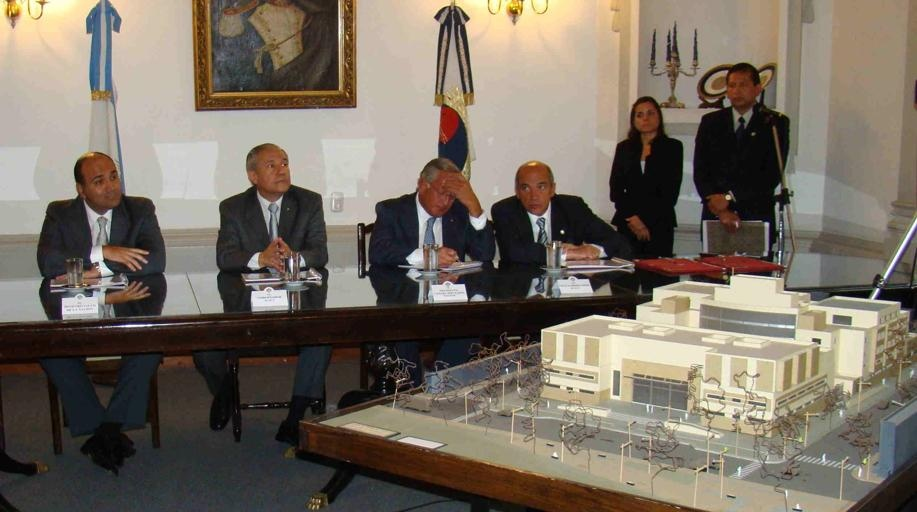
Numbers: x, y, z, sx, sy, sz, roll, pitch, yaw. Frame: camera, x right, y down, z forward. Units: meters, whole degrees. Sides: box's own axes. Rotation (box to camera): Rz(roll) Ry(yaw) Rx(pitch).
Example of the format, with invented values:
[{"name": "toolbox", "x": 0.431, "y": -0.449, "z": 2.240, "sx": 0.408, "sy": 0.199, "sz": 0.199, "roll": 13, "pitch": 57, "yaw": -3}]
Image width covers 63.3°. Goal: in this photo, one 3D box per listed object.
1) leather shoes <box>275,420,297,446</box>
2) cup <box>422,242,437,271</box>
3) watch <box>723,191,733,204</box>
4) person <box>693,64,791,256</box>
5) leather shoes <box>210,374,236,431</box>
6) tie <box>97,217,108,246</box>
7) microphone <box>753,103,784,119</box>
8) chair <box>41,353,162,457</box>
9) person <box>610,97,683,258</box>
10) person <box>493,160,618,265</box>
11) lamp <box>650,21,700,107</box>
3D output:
[{"name": "leather shoes", "x": -1.060, "y": 1.103, "z": 4.658, "sx": 0.099, "sy": 0.112, "sz": 0.286, "roll": 3, "pitch": -5, "yaw": -27}, {"name": "cup", "x": -0.162, "y": 0.005, "z": 4.252, "sx": 0.144, "sy": 0.179, "sz": 0.134, "roll": 1, "pitch": 12, "yaw": 0}, {"name": "watch", "x": 1.900, "y": -0.414, "z": 5.272, "sx": 0.072, "sy": 0.063, "sz": 0.016, "roll": 3, "pitch": -15, "yaw": -9}, {"name": "person", "x": 1.990, "y": -0.802, "z": 5.275, "sx": 0.608, "sy": 1.130, "sz": 0.419, "roll": 3, "pitch": 13, "yaw": 17}, {"name": "leather shoes", "x": -1.449, "y": 0.914, "z": 4.602, "sx": 0.110, "sy": 0.349, "sz": 0.228, "roll": 10, "pitch": -2, "yaw": -1}, {"name": "tie", "x": -2.168, "y": -0.154, "z": 4.521, "sx": 0.072, "sy": 0.212, "sz": 0.066, "roll": 1, "pitch": -2, "yaw": -14}, {"name": "microphone", "x": 2.199, "y": -1.055, "z": 5.317, "sx": 0.148, "sy": 0.096, "sz": 0.283, "roll": 9, "pitch": 14, "yaw": 39}, {"name": "chair", "x": -2.080, "y": 0.805, "z": 4.688, "sx": 0.870, "sy": 0.715, "sz": 0.674, "roll": -3, "pitch": -2, "yaw": -14}, {"name": "person", "x": 1.363, "y": -0.603, "z": 5.462, "sx": 0.503, "sy": 1.120, "sz": 0.374, "roll": 2, "pitch": 13, "yaw": 12}, {"name": "person", "x": 0.574, "y": -0.284, "z": 4.831, "sx": 0.668, "sy": 0.324, "sz": 0.833, "roll": -10, "pitch": 15, "yaw": -16}, {"name": "lamp", "x": 1.807, "y": -1.633, "z": 6.297, "sx": 0.422, "sy": 0.738, "sz": 0.596, "roll": 3, "pitch": 13, "yaw": 17}]
